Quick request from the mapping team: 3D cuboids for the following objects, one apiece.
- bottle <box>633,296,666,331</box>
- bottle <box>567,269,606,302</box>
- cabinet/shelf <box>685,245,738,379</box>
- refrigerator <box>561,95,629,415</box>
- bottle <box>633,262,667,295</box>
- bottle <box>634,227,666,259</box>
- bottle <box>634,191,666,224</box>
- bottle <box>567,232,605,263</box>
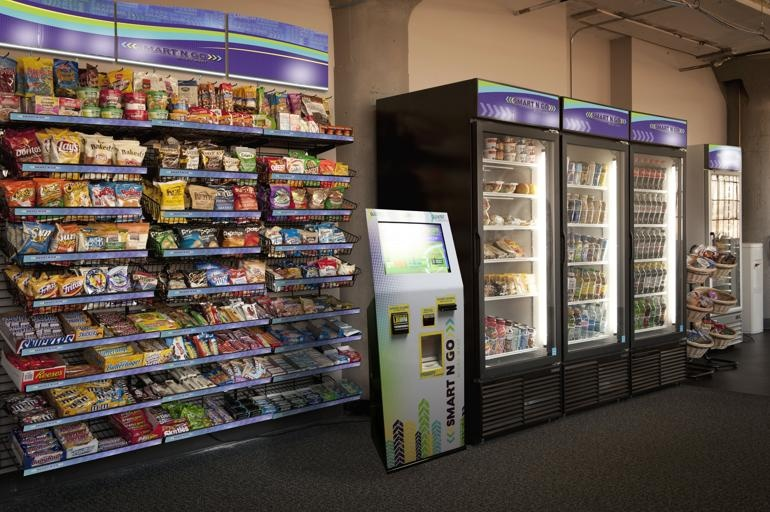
[{"bbox_3d":[3.309,0.725,6.648,0.543,0.420,0.169,0,-3,-35],"label":"bottle"},{"bbox_3d":[2.344,0.346,6.203,0.473,0.270,0.175,0,-3,-39],"label":"bottle"},{"bbox_3d":[4.632,0.732,7.514,0.730,1.632,2.206,7,14,33],"label":"cabinet/shelf"},{"bbox_3d":[2.407,-0.045,6.052,0.917,3.373,1.441,3,13,16],"label":"refrigerator"},{"bbox_3d":[3.346,0.279,6.711,0.511,0.393,0.274,1,-1,-32],"label":"bottle"},{"bbox_3d":[3.326,-0.162,6.684,0.467,0.371,0.240,-1,-2,-31],"label":"bottle"},{"bbox_3d":[3.358,-0.602,6.734,0.417,0.352,0.323,18,-13,-40],"label":"bottle"},{"bbox_3d":[2.385,-0.089,6.267,0.552,0.209,0.325,-2,6,-33],"label":"bottle"}]
